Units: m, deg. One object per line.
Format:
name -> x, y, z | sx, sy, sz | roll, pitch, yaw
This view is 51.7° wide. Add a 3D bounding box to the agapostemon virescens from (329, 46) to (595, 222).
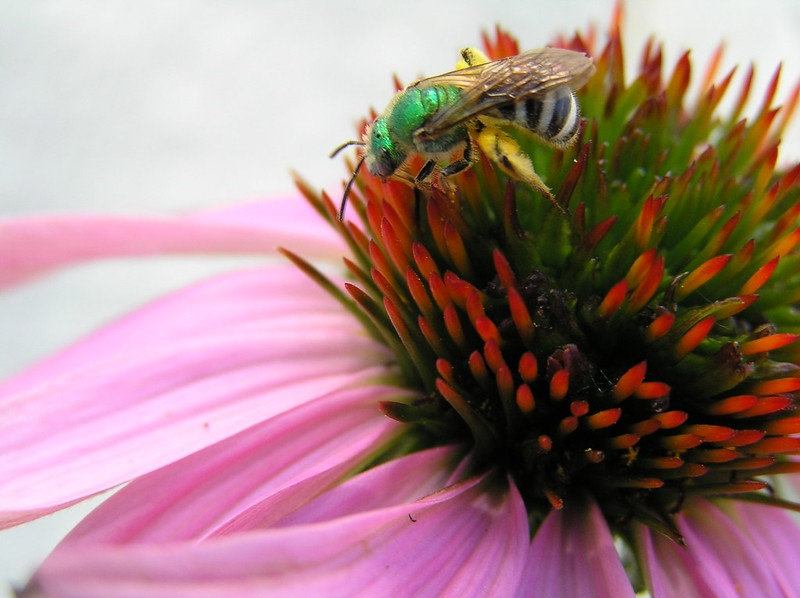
agapostemon virescens -> 0.108, -0.277, 1.307 | 0.346, 0.258, 0.118 | -25, -49, 14
